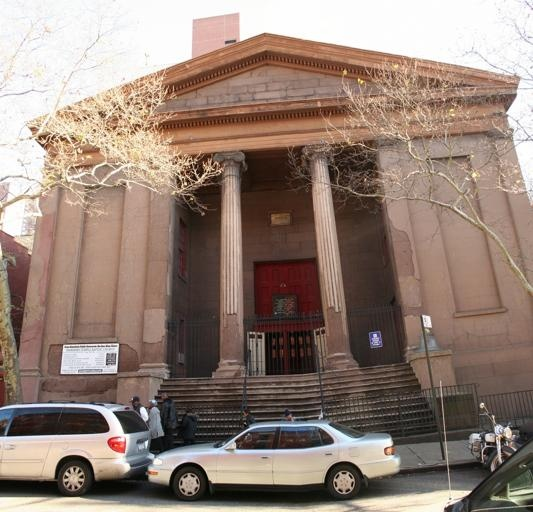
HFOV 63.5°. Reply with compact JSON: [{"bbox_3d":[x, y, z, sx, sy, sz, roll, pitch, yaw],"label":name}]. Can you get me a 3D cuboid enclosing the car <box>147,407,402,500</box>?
[{"bbox_3d":[0.108,3.426,7.896,4.314,1.097,1.612,0,-18,3],"label":"car"}]
